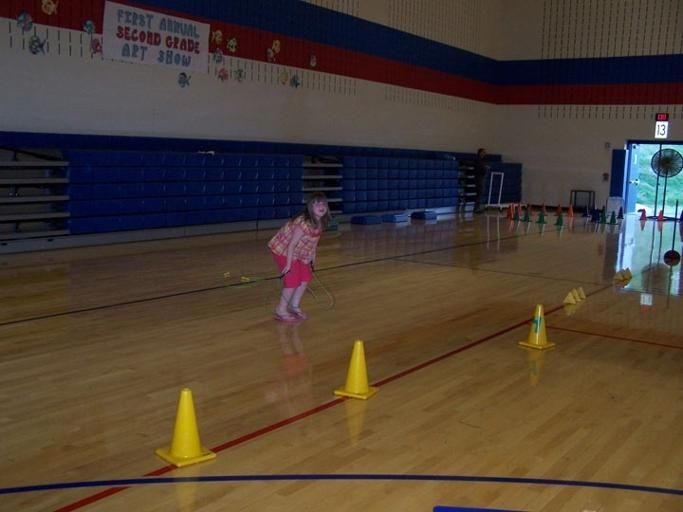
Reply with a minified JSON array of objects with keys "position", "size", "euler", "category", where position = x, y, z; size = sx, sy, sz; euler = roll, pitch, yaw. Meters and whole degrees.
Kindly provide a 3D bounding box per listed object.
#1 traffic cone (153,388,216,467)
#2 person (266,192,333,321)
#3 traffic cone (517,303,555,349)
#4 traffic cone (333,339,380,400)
[{"position":[-0.761,0.814,2.228],"size":[0.243,0.343,0.242],"euler":[-3,11,-34],"category":"traffic cone"},{"position":[-0.421,0.011,4.470],"size":[0.496,1.241,0.501],"euler":[-1,10,-21],"category":"person"},{"position":[1.646,0.565,3.966],"size":[0.334,0.477,0.346],"euler":[3,11,24],"category":"traffic cone"},{"position":[0.132,0.685,3.109],"size":[0.320,0.469,0.325],"euler":[5,13,23],"category":"traffic cone"}]
